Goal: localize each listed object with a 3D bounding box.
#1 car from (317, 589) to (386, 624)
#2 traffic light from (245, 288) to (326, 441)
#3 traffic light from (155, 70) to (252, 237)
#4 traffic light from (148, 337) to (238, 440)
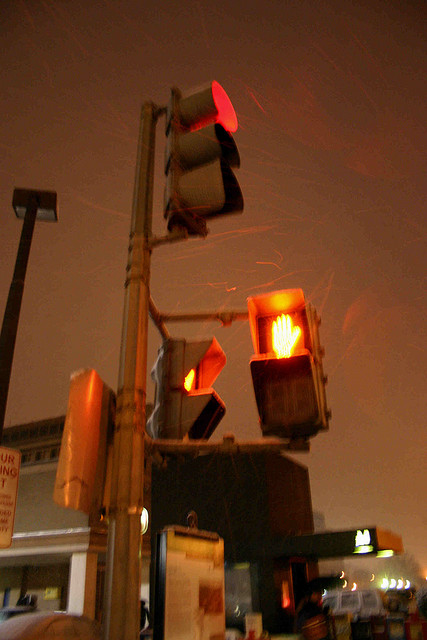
[{"bbox_3d":[4.632,9.369,15.863,2.133,0.815,5.730,-8,-30,10],"label":"car"},{"bbox_3d":[0.502,0.277,3.416,0.486,1.122,0.377,-8,-30,11],"label":"traffic light"},{"bbox_3d":[-0.114,-1.264,3.643,0.675,1.432,0.582,0,-29,-4],"label":"traffic light"},{"bbox_3d":[-0.210,0.728,4.775,0.556,1.088,0.542,-8,-31,16],"label":"traffic light"}]
